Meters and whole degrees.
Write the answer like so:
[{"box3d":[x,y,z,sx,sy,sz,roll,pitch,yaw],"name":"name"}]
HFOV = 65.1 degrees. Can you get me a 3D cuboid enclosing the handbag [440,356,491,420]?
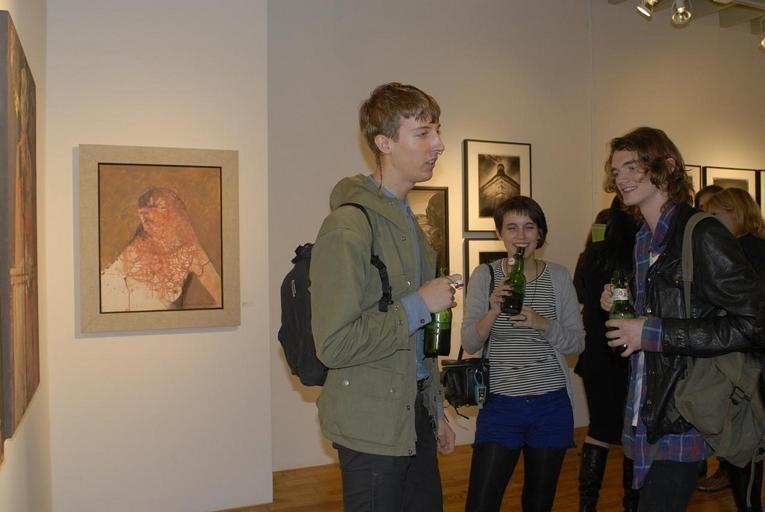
[{"box3d":[0.435,0.764,3.563,0.287,0.377,0.299,0,-1,-16],"name":"handbag"}]
